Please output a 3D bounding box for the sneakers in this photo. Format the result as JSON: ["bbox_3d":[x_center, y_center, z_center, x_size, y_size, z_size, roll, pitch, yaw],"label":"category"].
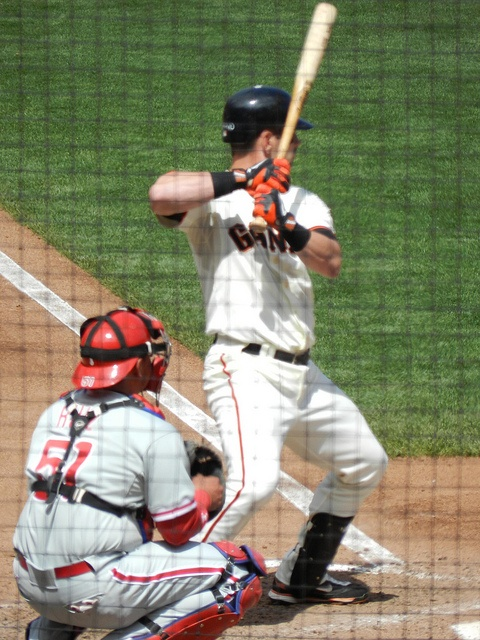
[{"bbox_3d":[0.400,1.284,6.057,0.510,0.205,0.162,-1,3,-3],"label":"sneakers"}]

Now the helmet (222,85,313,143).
[{"bbox_3d":[0.137,-0.958,5.784,0.472,0.214,0.300,-8,25,-10],"label":"helmet"}]

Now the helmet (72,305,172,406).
[{"bbox_3d":[-0.511,0.130,5.273,0.349,0.342,0.455,7,9,35],"label":"helmet"}]

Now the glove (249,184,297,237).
[{"bbox_3d":[0.155,-0.474,5.404,0.188,0.175,0.152,7,21,-8],"label":"glove"}]
